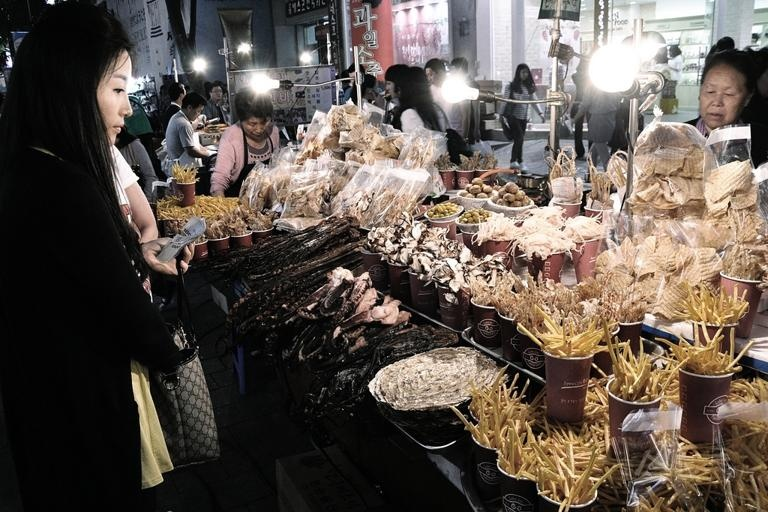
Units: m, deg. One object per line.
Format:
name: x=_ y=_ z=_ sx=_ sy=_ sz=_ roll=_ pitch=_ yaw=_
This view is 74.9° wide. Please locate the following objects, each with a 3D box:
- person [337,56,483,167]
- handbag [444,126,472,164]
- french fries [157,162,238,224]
person: x=0.418 y=-1.516 z=5.243 sx=0.977 sy=0.977 sz=0.693 roll=6 pitch=22 yaw=28
handbag: x=0.734 y=-1.119 z=5.040 sx=0.210 sy=0.309 sz=0.534 roll=-2 pitch=19 yaw=8
french fries: x=-1.523 y=-0.506 z=4.117 sx=0.716 sy=0.546 sz=0.597 roll=18 pitch=24 yaw=40
